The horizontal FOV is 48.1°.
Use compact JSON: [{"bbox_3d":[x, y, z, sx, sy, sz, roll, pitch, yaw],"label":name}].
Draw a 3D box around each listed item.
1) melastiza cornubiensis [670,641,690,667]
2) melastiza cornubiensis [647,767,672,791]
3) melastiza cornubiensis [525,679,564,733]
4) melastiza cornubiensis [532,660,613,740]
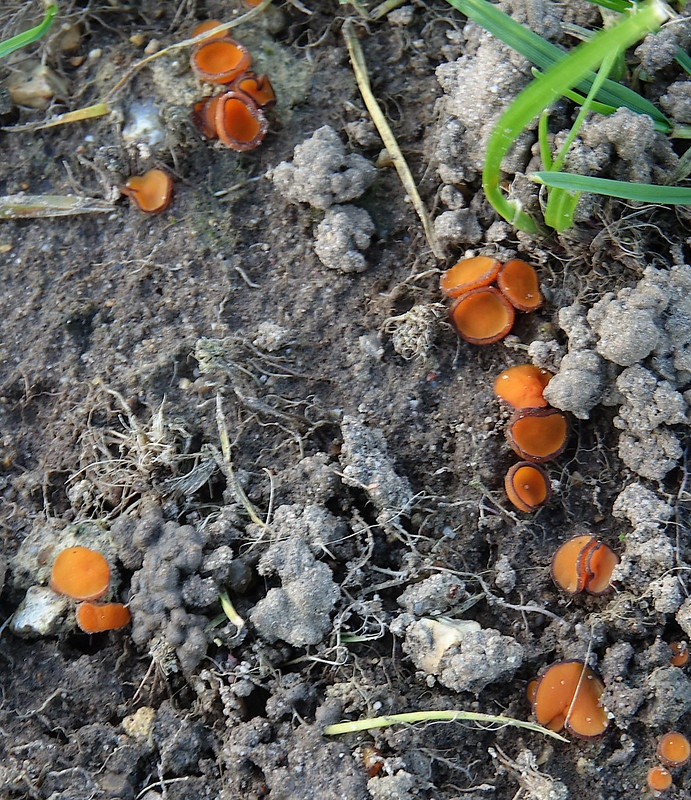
[{"bbox_3d":[0.989,0.751,2.287,0.067,0.067,0.020,-35,16,-36],"label":"melastiza cornubiensis"},{"bbox_3d":[0.910,1.099,2.243,0.065,0.049,0.066,2,56,17],"label":"melastiza cornubiensis"},{"bbox_3d":[0.607,0.914,2.347,0.126,0.042,0.144,-30,76,41],"label":"melastiza cornubiensis"},{"bbox_3d":[0.664,0.888,2.296,0.213,0.125,0.200,-7,54,10],"label":"melastiza cornubiensis"}]
